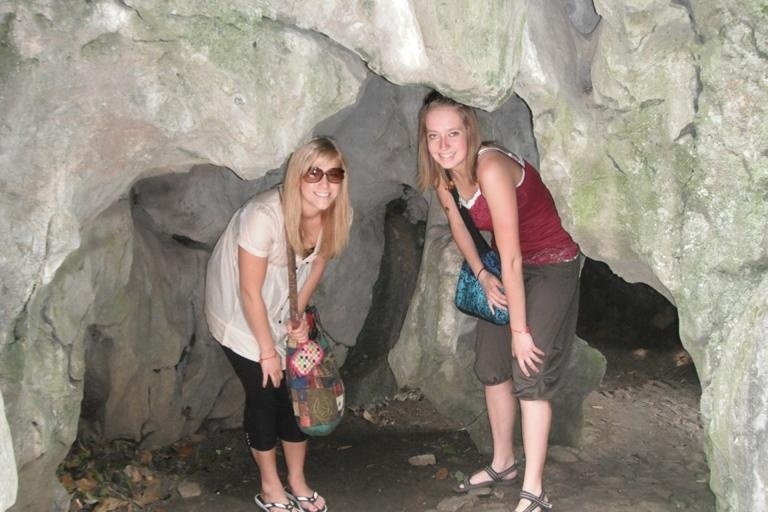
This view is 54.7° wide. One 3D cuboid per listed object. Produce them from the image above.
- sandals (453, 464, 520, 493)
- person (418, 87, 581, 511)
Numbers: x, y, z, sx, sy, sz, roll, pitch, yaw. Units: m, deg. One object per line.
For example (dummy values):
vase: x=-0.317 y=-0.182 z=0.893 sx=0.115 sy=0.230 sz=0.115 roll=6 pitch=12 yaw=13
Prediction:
sandals: x=0.585 y=1.299 z=4.361 sx=0.383 sy=0.149 sz=0.147 roll=-1 pitch=2 yaw=0
person: x=0.621 y=0.264 z=4.006 sx=0.838 sy=2.295 sz=0.531 roll=-1 pitch=4 yaw=14
